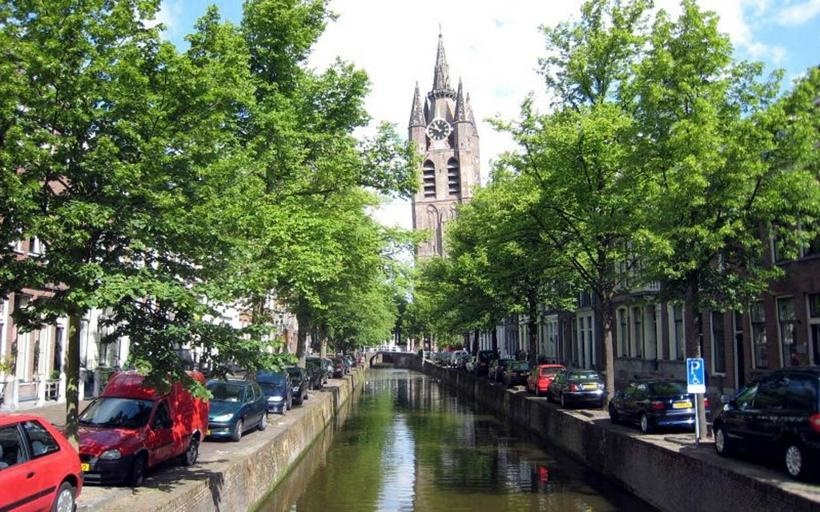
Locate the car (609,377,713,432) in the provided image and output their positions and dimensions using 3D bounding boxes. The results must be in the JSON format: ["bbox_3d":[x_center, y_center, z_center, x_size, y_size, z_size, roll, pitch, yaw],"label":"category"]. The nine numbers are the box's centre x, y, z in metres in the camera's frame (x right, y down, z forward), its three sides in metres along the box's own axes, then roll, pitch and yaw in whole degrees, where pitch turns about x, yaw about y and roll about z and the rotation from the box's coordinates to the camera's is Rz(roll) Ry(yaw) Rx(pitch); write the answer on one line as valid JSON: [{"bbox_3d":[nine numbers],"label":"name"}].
[{"bbox_3d":[7.772,4.994,24.918,3.927,1.636,2.762,-11,-15,44],"label":"car"}]

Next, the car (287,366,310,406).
[{"bbox_3d":[-5.510,6.031,34.817,1.516,1.271,3.040,0,-15,-3],"label":"car"}]

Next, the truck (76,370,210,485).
[{"bbox_3d":[-7.139,4.457,19.591,2.789,2.347,4.825,4,-3,10],"label":"truck"}]
